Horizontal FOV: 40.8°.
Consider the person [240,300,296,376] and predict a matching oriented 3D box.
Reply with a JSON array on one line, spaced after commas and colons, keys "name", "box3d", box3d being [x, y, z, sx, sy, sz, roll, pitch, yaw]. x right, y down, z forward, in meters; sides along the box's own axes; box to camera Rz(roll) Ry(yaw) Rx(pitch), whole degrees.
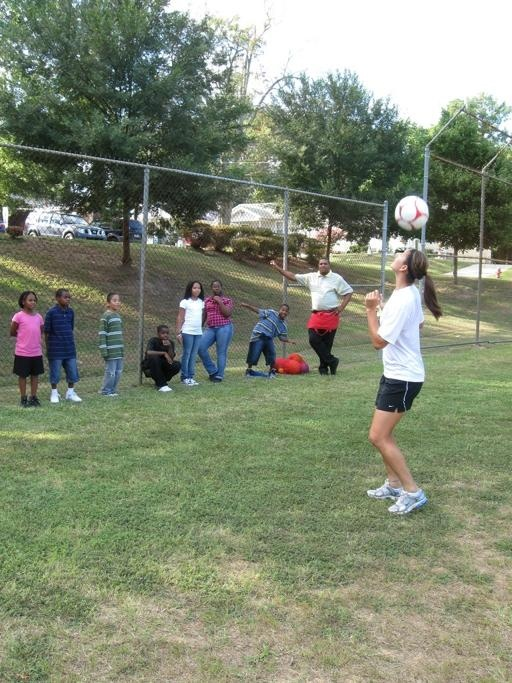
[{"name": "person", "box3d": [0.136, -0.012, 9.619, 0.628, 1.047, 1.087, 2, 7, 0]}]

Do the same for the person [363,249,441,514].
[{"name": "person", "box3d": [0.888, 0.233, 4.253, 0.457, 1.591, 0.599, 3, 8, 11]}]

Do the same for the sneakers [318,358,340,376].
[{"name": "sneakers", "box3d": [1.031, 0.399, 9.789, 0.293, 0.348, 0.132, 10, 19, 1]}]

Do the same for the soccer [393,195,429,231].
[{"name": "soccer", "box3d": [1.603, -1.355, 7.444, 0.459, 0.388, 0.404, 7, 23, 8]}]

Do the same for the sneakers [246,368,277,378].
[{"name": "sneakers", "box3d": [0.097, 0.468, 9.643, 0.510, 0.166, 0.147, -3, 18, 3]}]

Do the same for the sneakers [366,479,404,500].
[{"name": "sneakers", "box3d": [0.828, 0.976, 4.463, 0.247, 0.111, 0.088, 0, -3, -1]}]

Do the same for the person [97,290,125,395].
[{"name": "person", "box3d": [-1.633, 0.043, 7.741, 0.241, 1.144, 0.486, 0, 8, -13]}]

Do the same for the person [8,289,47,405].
[{"name": "person", "box3d": [-2.334, 0.075, 7.022, 0.296, 1.153, 0.389, -1, 8, -18]}]

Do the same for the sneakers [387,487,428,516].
[{"name": "sneakers", "box3d": [0.920, 0.972, 4.209, 0.274, 0.119, 0.109, -27, 11, -5]}]
